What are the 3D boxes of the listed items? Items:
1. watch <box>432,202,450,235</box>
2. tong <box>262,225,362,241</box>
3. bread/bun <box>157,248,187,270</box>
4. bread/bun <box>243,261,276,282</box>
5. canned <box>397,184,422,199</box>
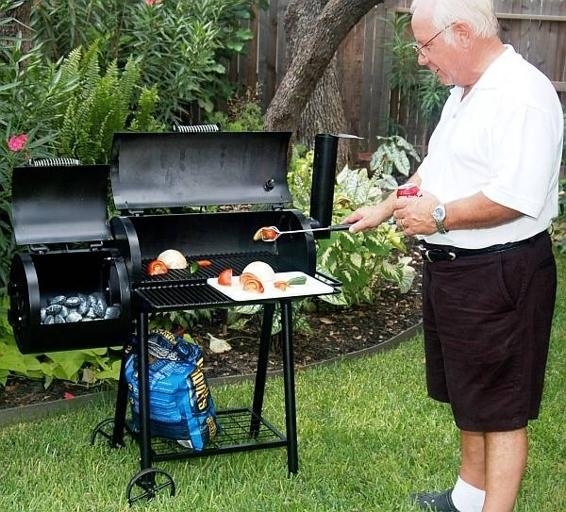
[{"bbox_3d":[0.525,-0.127,1.808,0.059,0.089,0.090,2,-1,23],"label":"watch"},{"bbox_3d":[0.127,-0.106,2.538,0.389,0.041,0.110,-5,30,1],"label":"tong"},{"bbox_3d":[-0.480,0.020,2.398,0.100,0.057,0.097,14,10,-1],"label":"bread/bun"},{"bbox_3d":[-0.094,0.071,2.288,0.120,0.068,0.085,1,12,-5],"label":"bread/bun"},{"bbox_3d":[0.450,-0.223,1.936,0.060,0.038,0.058,-2,6,-4],"label":"canned"}]
